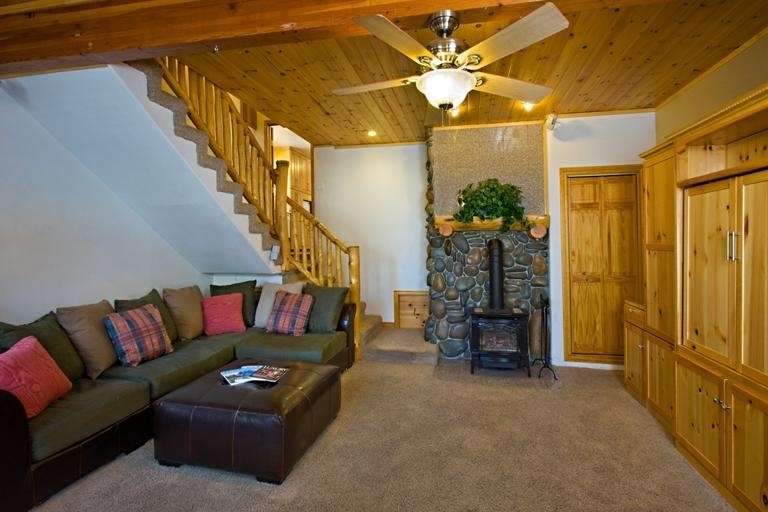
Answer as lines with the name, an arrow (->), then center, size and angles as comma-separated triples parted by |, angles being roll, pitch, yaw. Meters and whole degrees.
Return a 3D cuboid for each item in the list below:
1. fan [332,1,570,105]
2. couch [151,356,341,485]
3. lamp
fan -> 0.604, -1.508, 4.219 | 1.503, 0.555, 0.911 | 1, 2, 7
couch -> -1.234, 1.405, 4.676 | 1.022, 0.438, 1.087 | 1, 3, 14
lamp -> 0.488, -1.283, 4.276 | 0.519, 0.197, 0.464 | -9, 46, -1
